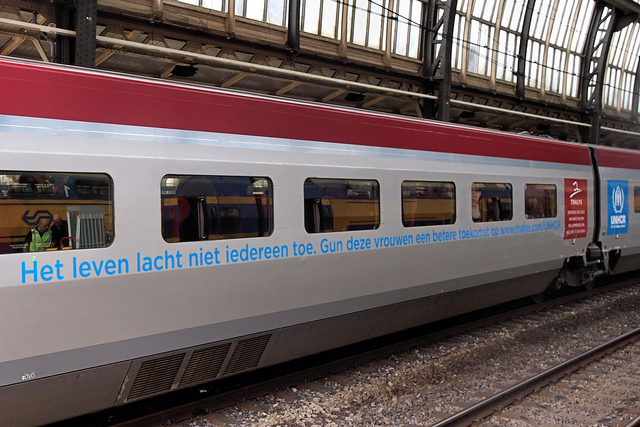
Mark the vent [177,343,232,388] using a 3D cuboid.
[{"bbox_3d":[-1.535,1.995,7.015,0.690,0.507,0.094,-5,11,-30],"label":"vent"}]
